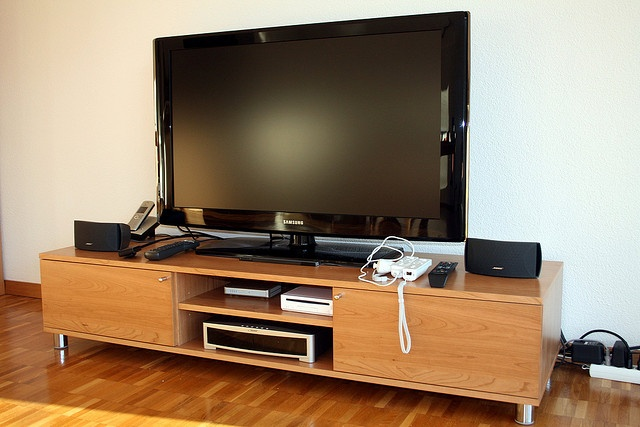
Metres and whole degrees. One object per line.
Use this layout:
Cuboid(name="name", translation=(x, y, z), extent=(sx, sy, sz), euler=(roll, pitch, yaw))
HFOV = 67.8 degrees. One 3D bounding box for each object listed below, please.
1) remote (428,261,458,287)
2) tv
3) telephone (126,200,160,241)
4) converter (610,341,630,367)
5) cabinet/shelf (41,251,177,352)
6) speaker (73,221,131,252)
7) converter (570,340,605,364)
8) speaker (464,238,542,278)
Cuboid(name="remote", translation=(0.525, 0.255, 2.064), extent=(0.061, 0.041, 0.215), euler=(3, 13, 21))
Cuboid(name="tv", translation=(-0.134, -0.349, 2.442), extent=(1.738, 1.100, 0.458), euler=(4, 9, 25))
Cuboid(name="telephone", translation=(-1.090, 0.031, 2.848), extent=(0.217, 0.187, 0.157), euler=(8, 13, 26))
Cuboid(name="converter", translation=(1.428, 0.665, 2.248), extent=(0.072, 0.116, 0.094), euler=(7, -11, -23))
Cuboid(name="cabinet/shelf", translation=(-1.079, 0.451, 2.436), extent=(0.846, 0.365, 0.421), euler=(3, 4, 18))
Cuboid(name="speaker", translation=(-1.201, 0.122, 2.633), extent=(0.324, 0.157, 0.160), euler=(3, 1, 21))
Cuboid(name="converter", translation=(1.267, 0.659, 2.262), extent=(0.121, 0.095, 0.064), euler=(4, 11, 23))
Cuboid(name="speaker", translation=(0.788, 0.195, 2.075), extent=(0.326, 0.156, 0.046), euler=(2, -10, 37))
